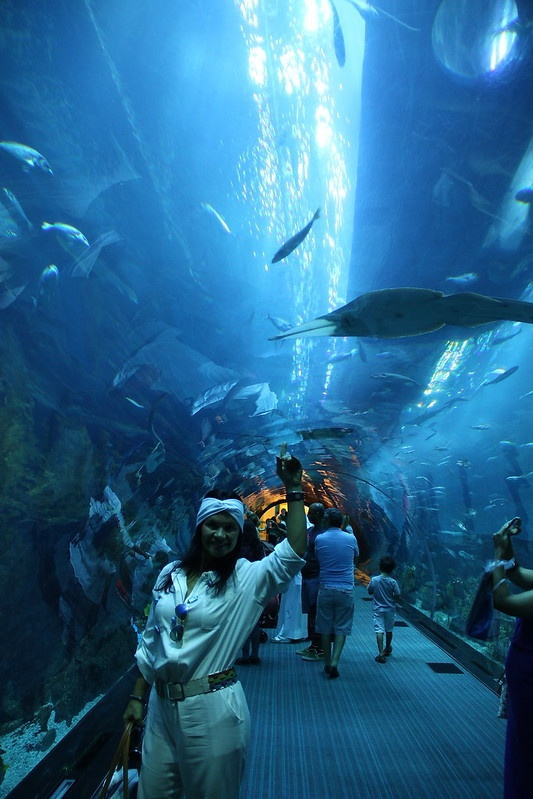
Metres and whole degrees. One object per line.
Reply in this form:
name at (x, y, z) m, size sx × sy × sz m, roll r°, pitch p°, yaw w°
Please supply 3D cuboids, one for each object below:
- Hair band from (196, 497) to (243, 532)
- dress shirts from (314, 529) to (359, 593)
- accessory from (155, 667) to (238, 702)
Hair band at (-0.220, 0.548, 2.366) m, size 0.170 × 0.115 × 0.170 m, roll 2°, pitch -11°, yaw -3°
dress shirts at (0.972, 2.216, 6.715) m, size 0.677 × 0.987 × 0.705 m, roll -1°, pitch -31°, yaw 11°
accessory at (-0.307, 1.201, 2.114) m, size 0.352 × 0.130 × 0.155 m, roll 1°, pitch -13°, yaw -1°
